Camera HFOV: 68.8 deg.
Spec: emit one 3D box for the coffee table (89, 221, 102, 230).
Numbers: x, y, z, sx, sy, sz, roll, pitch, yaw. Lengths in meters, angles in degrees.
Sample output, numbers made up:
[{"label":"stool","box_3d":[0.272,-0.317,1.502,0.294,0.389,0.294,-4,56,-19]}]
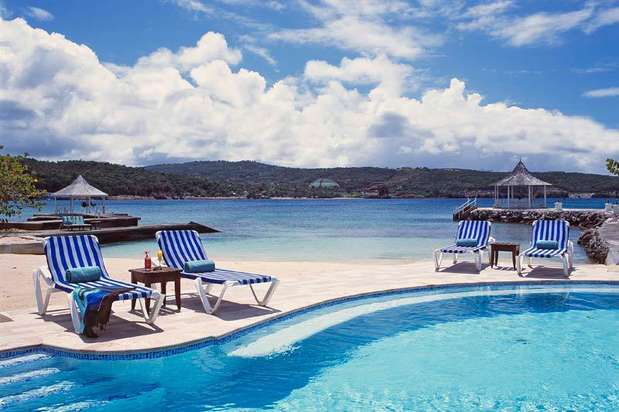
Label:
[{"label":"coffee table","box_3d":[-13.348,1.134,27.996,0.679,0.514,0.601,-1,0,-8]}]
